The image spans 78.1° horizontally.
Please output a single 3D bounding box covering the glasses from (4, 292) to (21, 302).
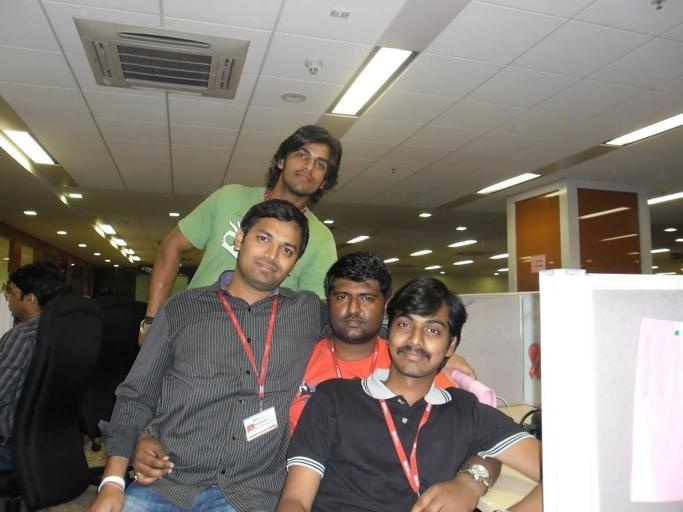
[{"bbox_3d":[-2.276,0.274,2.921,0.095,0.033,0.099,2,-12,-7],"label":"glasses"}]

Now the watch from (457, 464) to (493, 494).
[{"bbox_3d":[0.459,0.744,1.455,0.100,0.101,0.063,-3,1,31],"label":"watch"}]

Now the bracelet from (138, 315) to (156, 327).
[{"bbox_3d":[-1.004,0.317,2.186,0.084,0.060,0.114,3,-5,-18],"label":"bracelet"}]

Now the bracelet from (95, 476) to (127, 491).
[{"bbox_3d":[-0.823,0.803,1.490,0.069,0.028,0.070,0,-5,-3],"label":"bracelet"}]
